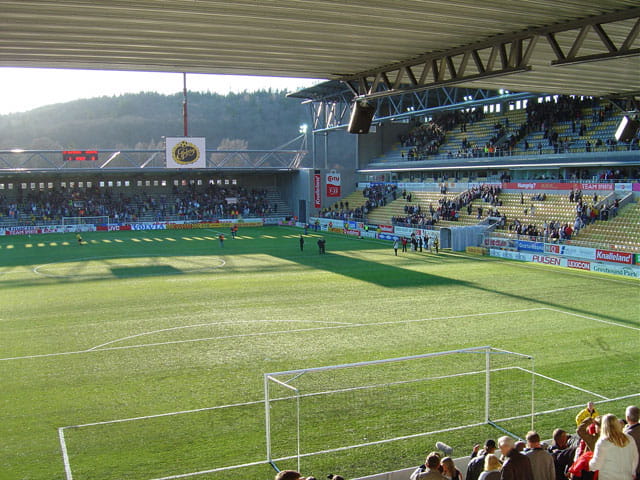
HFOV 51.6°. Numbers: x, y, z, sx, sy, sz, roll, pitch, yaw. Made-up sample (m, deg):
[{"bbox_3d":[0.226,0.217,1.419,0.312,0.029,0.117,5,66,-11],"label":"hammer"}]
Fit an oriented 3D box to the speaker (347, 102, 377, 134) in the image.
[{"bbox_3d":[1.387,-4.162,22.269,0.713,1.114,0.637,0,35,-19],"label":"speaker"}]
